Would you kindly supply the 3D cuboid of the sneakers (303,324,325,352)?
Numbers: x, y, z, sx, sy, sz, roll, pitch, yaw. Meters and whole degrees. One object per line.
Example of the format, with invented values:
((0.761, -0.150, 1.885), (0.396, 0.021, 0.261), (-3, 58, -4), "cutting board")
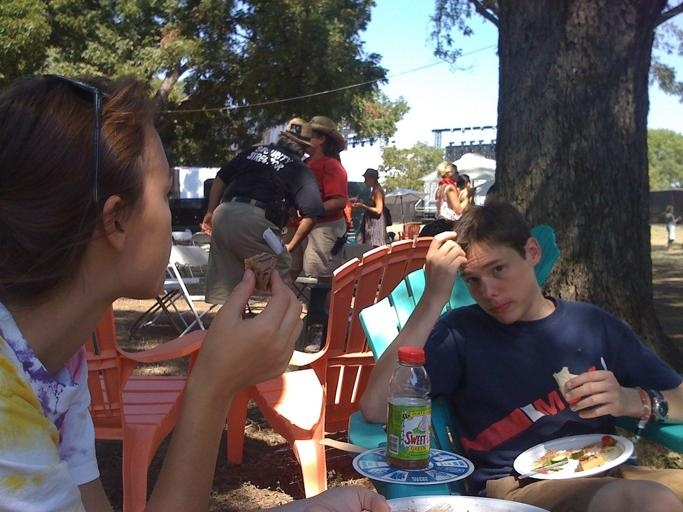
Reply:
((-0.248, 0.687, 5.190), (0.148, 0.278, 0.232), (1, 0, -26), "sneakers")

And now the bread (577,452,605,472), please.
((0.975, 0.799, 2.380), (0.078, 0.033, 0.052), (-14, 19, -2), "bread")

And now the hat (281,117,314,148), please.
((-0.404, -1.137, 5.548), (0.198, 0.167, 0.283), (19, 13, -15), "hat")

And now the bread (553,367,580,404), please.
((0.908, 0.513, 2.473), (0.141, 0.100, 0.041), (-55, 7, -37), "bread")

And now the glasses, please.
((-0.742, -0.330, 1.710), (0.201, 0.367, 0.094), (2, 3, 18), "glasses")

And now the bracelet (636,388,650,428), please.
((1.304, 0.658, 2.619), (0.031, 0.131, 0.096), (10, -19, 11), "bracelet")

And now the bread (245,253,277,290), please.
((-0.262, 0.046, 2.062), (0.100, 0.134, 0.113), (-9, -10, 40), "bread")
